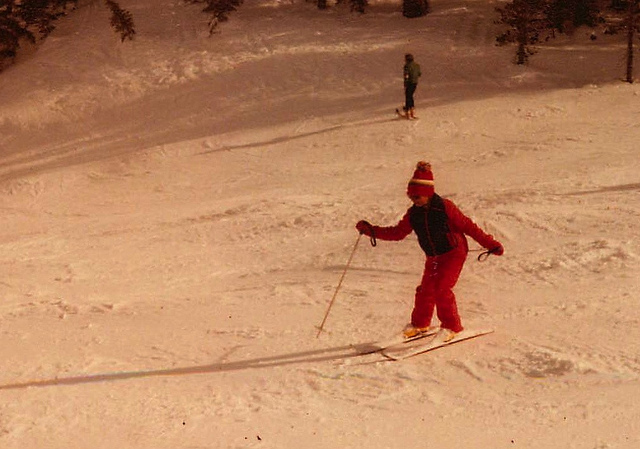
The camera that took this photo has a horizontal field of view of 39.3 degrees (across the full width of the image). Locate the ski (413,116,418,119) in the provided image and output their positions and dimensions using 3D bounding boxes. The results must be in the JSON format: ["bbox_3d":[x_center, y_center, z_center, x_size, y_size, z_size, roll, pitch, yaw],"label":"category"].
[{"bbox_3d":[2.956,-3.330,27.793,0.131,0.053,0.193,-4,34,8],"label":"ski"}]
